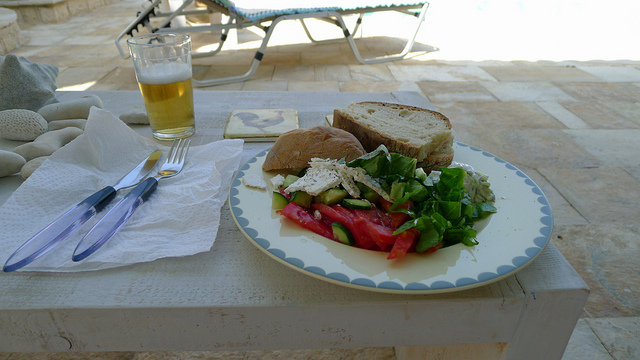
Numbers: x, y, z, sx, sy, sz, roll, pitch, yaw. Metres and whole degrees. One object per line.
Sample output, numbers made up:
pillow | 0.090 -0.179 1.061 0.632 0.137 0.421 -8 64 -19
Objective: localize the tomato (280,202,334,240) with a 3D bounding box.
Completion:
tomato | -0.044 0.138 1.383 0.166 0.043 0.082 29 50 -7

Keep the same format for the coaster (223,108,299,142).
coaster | -0.229 -0.223 1.759 0.283 0.027 0.210 2 45 1

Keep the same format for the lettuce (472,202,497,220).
lettuce | 0.506 0.094 1.374 0.090 0.020 0.045 -11 47 -12

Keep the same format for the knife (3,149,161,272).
knife | -0.720 0.075 1.407 0.084 0.062 0.587 25 50 21

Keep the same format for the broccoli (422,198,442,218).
broccoli | 0.338 0.084 1.320 0.057 0.016 0.048 -2 57 -2

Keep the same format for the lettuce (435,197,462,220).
lettuce | 0.383 0.090 1.314 0.065 0.043 0.054 3 9 17

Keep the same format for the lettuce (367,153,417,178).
lettuce | 0.226 -0.039 1.363 0.155 0.065 0.059 4 48 3

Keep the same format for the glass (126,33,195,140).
glass | -0.608 -0.357 1.759 0.273 0.363 0.245 -6 21 -5

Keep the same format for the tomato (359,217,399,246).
tomato | 0.179 0.151 1.360 0.125 0.075 0.112 3 3 12

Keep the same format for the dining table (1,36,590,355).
dining table | -0.118 0.154 1.557 1.705 0.349 1.335 0 37 -2

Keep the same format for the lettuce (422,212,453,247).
lettuce | 0.351 0.137 1.289 0.087 0.066 0.074 -16 49 -16

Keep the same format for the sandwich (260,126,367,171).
sandwich | -0.036 -0.109 1.504 0.327 0.103 0.152 -4 19 0

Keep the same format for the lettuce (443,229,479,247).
lettuce | 0.418 0.166 1.306 0.066 0.022 0.061 2 23 20
